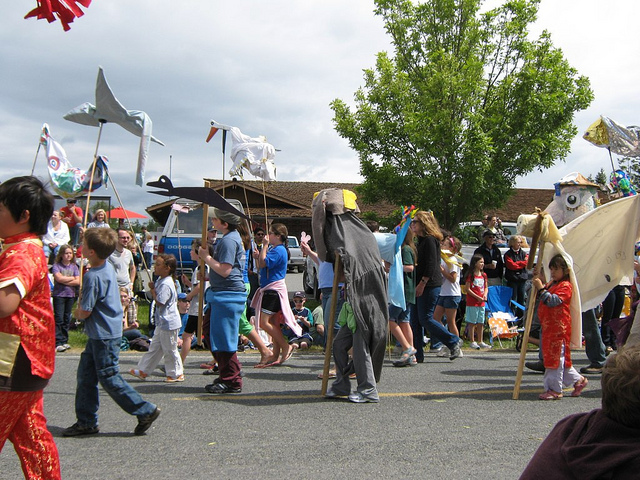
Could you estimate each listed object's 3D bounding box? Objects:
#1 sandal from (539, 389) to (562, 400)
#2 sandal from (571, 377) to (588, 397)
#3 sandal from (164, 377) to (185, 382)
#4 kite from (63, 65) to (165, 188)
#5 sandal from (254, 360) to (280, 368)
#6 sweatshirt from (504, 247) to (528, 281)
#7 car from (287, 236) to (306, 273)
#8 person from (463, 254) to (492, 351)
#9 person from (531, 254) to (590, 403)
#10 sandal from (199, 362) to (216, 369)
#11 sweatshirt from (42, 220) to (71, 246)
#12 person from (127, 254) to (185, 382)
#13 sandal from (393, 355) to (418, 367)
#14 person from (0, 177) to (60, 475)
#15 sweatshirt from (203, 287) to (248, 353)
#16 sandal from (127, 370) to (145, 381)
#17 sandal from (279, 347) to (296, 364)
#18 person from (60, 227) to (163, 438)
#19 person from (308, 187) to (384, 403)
[{"bbox_3d":[2.669,1.803,6.766,0.222,0.076,0.109,4,-9,-9],"label":"sandal"},{"bbox_3d":[3.082,1.793,6.954,0.101,0.279,0.102,38,-5,-3],"label":"sandal"},{"bbox_3d":[-1.809,1.734,7.258,0.192,0.055,0.067,3,-5,-18],"label":"sandal"},{"bbox_3d":[-3.600,-2.063,9.848,1.595,0.461,1.397,-14,-37,33],"label":"kite"},{"bbox_3d":[-0.762,1.805,8.548,0.390,0.042,0.101,0,-7,-42],"label":"sandal"},{"bbox_3d":[4.028,0.493,11.935,0.509,0.660,0.359,2,0,-3],"label":"sweatshirt"},{"bbox_3d":[-1.103,0.820,26.644,1.079,0.925,1.920,0,7,-3],"label":"car"},{"bbox_3d":[3.009,1.159,11.090,0.464,1.744,0.569,2,0,15],"label":"person"},{"bbox_3d":[2.774,1.017,6.839,0.767,1.662,0.366,2,0,-37],"label":"person"},{"bbox_3d":[-1.545,1.734,8.043,0.232,0.088,0.081,2,-6,3],"label":"sandal"},{"bbox_3d":[-4.662,-0.116,10.329,0.507,0.460,0.358,2,-9,-33],"label":"sweatshirt"},{"bbox_3d":[-1.996,0.973,7.220,0.837,1.501,0.632,-2,-8,9],"label":"person"},{"bbox_3d":[1.320,1.844,8.818,0.388,0.156,0.126,3,-10,-27],"label":"sandal"},{"bbox_3d":[-1.912,0.562,3.862,0.384,2.011,0.363,2,0,-28],"label":"person"},{"bbox_3d":[-1.106,0.883,6.928,0.564,0.790,0.665,2,0,-20],"label":"sweatshirt"},{"bbox_3d":[-2.274,1.660,7.234,0.295,0.085,0.109,19,-2,38],"label":"sandal"},{"bbox_3d":[-0.513,1.796,8.789,0.120,0.327,0.118,25,19,11],"label":"sandal"},{"bbox_3d":[-1.869,0.819,5.229,0.778,1.895,0.439,2,0,-17],"label":"person"},{"bbox_3d":[0.320,0.608,6.613,0.840,2.395,0.458,2,0,4],"label":"person"}]
